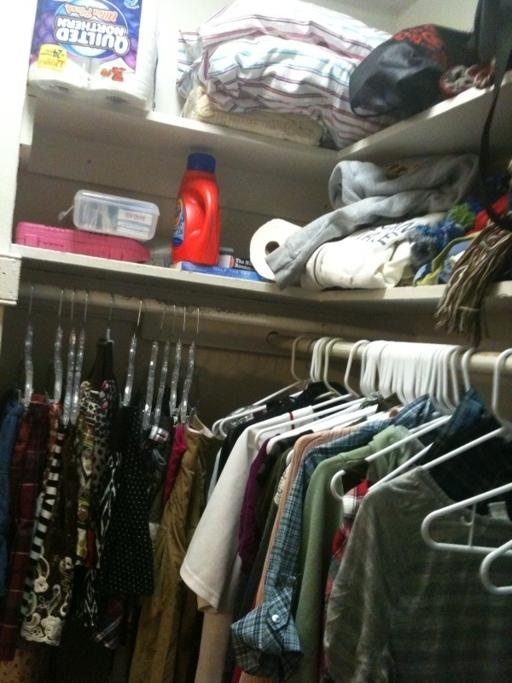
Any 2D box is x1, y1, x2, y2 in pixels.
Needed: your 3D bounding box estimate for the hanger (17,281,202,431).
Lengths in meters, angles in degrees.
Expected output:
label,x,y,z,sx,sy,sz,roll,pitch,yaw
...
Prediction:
label,x,y,z,sx,sy,sz,roll,pitch,yaw
hanger,-0.309,0.023,1.212,0.367,0.197,0.371,4,2,-6
